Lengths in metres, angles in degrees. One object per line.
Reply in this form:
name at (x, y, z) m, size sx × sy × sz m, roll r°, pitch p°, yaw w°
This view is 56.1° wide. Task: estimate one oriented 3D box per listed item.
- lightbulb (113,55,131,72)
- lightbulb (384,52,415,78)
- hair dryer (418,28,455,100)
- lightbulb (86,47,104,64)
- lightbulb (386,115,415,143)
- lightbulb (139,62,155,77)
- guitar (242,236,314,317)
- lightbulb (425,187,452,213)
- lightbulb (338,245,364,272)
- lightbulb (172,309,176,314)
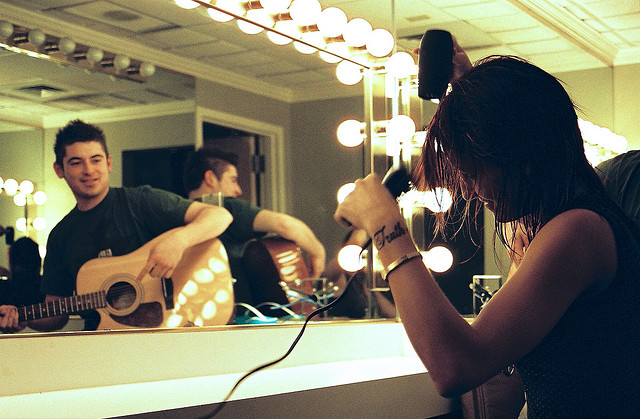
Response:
lightbulb at (-0.565, -0.413, 1.679) m, size 0.046 × 0.031 × 0.045 m, roll 1°, pitch -27°, yaw -11°
lightbulb at (0.321, -0.587, 2.410) m, size 0.135 × 0.093 × 0.048 m, roll -3°, pitch 3°, yaw -35°
hair dryer at (0.226, -0.286, 1.177) m, size 0.055 × 0.134 × 0.105 m, roll 4°, pitch 6°, yaw 23°
lightbulb at (-0.625, -0.426, 1.640) m, size 0.044 × 0.043 × 0.032 m, roll -10°, pitch 21°, yaw -23°
lightbulb at (0.319, -0.322, 2.436) m, size 0.105 × 0.104 × 0.123 m, roll 31°, pitch 21°, yaw 21°
lightbulb at (-0.504, -0.403, 1.718) m, size 0.041 × 0.038 × 0.038 m, roll 5°, pitch 7°, yaw 20°
guitar at (-0.143, 0.225, 1.991) m, size 0.058 × 0.262 × 0.266 m, roll 1°, pitch 3°, yaw 41°
lightbulb at (0.282, -0.025, 1.431) m, size 0.054 × 0.057 × 0.040 m, roll -1°, pitch 35°, yaw -1°
lightbulb at (0.115, 0.177, 2.176) m, size 0.053 × 0.098 × 0.115 m, roll 1°, pitch 3°, yaw 35°
lightbulb at (-0.437, 0.299, 1.757) m, size 0.008 × 0.011 × 0.010 m, roll -2°, pitch -11°, yaw -10°
